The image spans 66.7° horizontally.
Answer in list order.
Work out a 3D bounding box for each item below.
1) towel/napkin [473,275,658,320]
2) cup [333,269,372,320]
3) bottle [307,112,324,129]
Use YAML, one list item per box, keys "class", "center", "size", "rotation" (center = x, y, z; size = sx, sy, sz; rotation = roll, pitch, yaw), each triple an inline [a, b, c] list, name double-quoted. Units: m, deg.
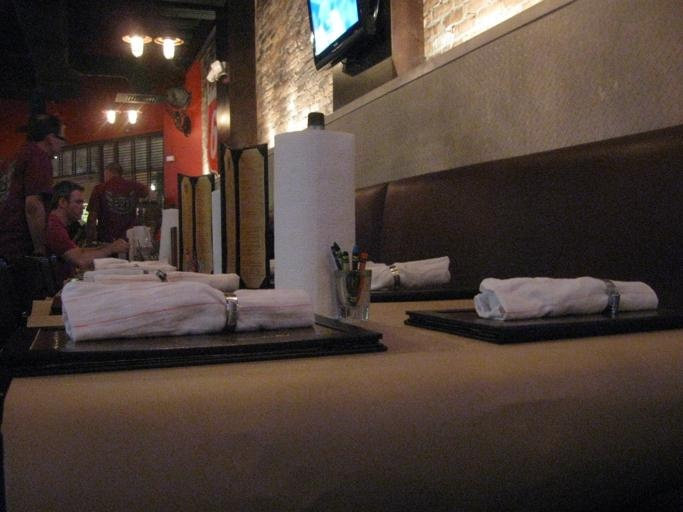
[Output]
- class: "towel/napkin"
  center: [0.398, 0.074, 0.943]
  size: [0.225, 0.055, 0.130]
  rotation: [0, -9, -16]
- class: "cup"
  center: [0.025, 0.076, 1.036]
  size: [0.071, 0.101, 0.065]
  rotation: [2, 0, 0]
- class: "bottle"
  center: [-0.053, -0.283, 1.089]
  size: [0.036, 0.037, 0.035]
  rotation: [2, 8, -2]
